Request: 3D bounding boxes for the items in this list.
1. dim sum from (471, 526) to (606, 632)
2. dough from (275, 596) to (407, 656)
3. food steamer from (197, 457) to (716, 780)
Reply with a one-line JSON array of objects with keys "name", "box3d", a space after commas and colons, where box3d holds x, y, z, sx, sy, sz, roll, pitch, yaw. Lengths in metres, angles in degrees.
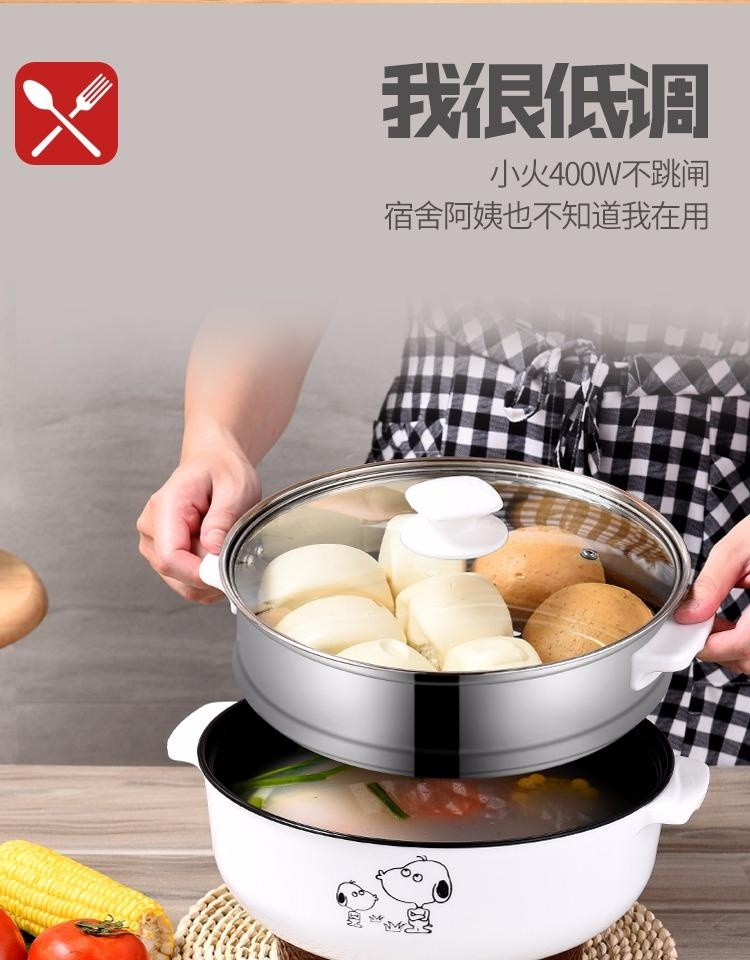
[{"name": "dim sum", "box3d": [0.107, 0.058, 0.610, 0.066, 0.038, 0.069, 8, 22, 10]}, {"name": "dough", "box3d": [-0.018, 0.086, 0.558, 0.053, 0.012, 0.035, 5, 24, 21]}, {"name": "food steamer", "box3d": [0.049, 0.078, 0.603, 0.297, 0.151, 0.228, 1, 13, -10]}]
